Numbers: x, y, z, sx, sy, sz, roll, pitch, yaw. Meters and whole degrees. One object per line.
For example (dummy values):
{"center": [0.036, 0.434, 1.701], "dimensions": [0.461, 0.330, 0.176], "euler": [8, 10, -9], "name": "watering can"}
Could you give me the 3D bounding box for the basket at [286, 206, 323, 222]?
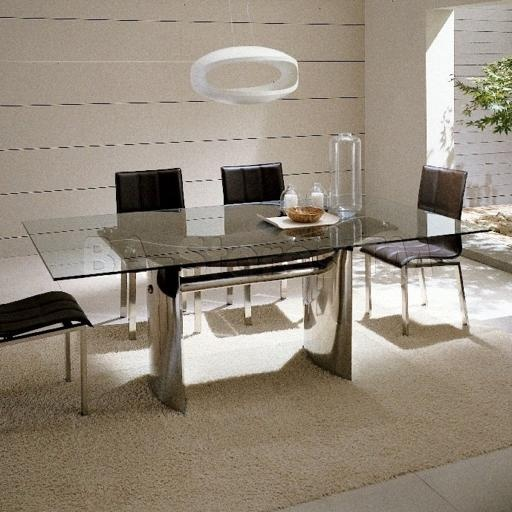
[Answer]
{"center": [0.228, -0.196, 2.283], "dimensions": [0.103, 0.035, 0.108], "euler": [4, 18, 9], "name": "basket"}
